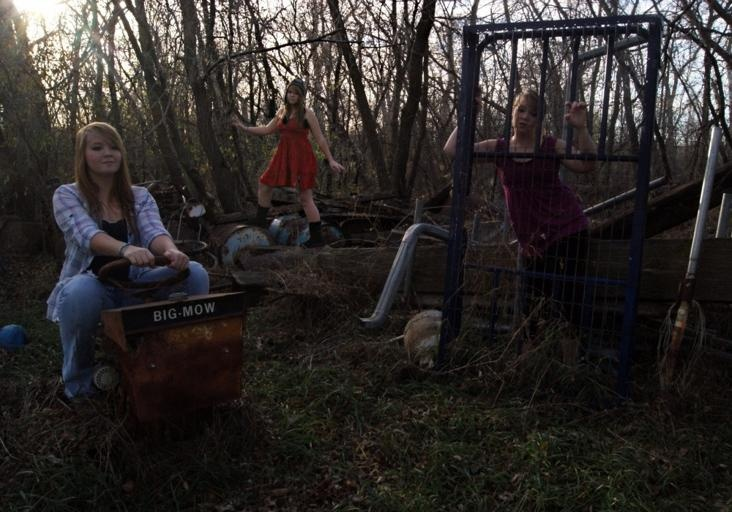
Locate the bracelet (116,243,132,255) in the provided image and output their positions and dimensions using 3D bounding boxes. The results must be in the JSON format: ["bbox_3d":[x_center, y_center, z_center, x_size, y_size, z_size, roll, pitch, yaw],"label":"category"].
[{"bbox_3d":[-1.777,-0.043,4.247,0.085,0.101,0.095,-13,-20,-23],"label":"bracelet"}]

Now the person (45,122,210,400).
[{"bbox_3d":[-1.892,-0.034,4.432,1.040,1.916,1.116,-12,16,-43],"label":"person"}]

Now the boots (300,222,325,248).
[{"bbox_3d":[-0.733,-0.290,8.266,0.419,0.470,0.229,0,3,-5],"label":"boots"}]

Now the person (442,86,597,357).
[{"bbox_3d":[1.406,-0.357,4.865,0.899,2.024,0.547,5,13,27],"label":"person"}]

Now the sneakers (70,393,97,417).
[{"bbox_3d":[-1.993,1.048,4.076,0.162,0.190,0.065,-9,-22,5],"label":"sneakers"}]

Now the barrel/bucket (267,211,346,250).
[{"bbox_3d":[-1.045,-0.384,9.100,0.803,0.287,0.617,4,13,8],"label":"barrel/bucket"}]
